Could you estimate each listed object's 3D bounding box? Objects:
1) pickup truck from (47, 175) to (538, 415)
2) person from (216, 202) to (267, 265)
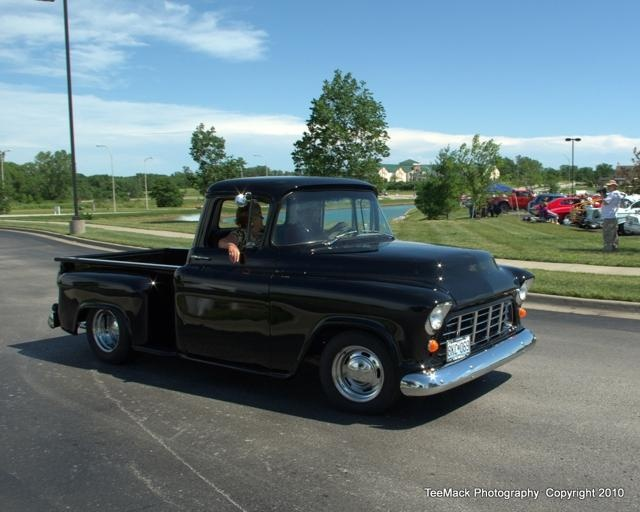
[{"bbox_3d":[-0.516,0.224,6.133,5.564,2.346,2.363,4,10,31],"label":"pickup truck"},{"bbox_3d":[-0.689,-0.249,5.535,0.629,0.606,0.338,11,-3,41],"label":"person"}]
